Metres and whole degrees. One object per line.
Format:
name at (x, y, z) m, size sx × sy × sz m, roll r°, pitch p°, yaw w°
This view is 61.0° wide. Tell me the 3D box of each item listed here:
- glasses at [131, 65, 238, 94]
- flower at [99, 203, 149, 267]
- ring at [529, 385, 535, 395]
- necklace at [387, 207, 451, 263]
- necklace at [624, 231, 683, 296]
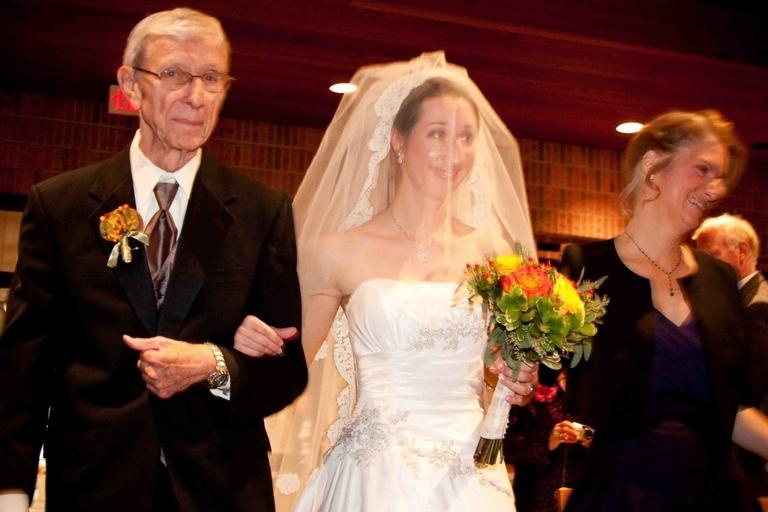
glasses at (-0.723, -0.661, 2.430) m, size 0.182 × 0.046 × 0.175 m, roll 2°, pitch -4°, yaw -26°
flower at (-0.915, -0.081, 2.265) m, size 0.173 × 0.204 × 0.070 m, roll -8°, pitch -12°, yaw -12°
ring at (0.603, 0.543, 2.643) m, size 0.014 × 0.038 × 0.041 m, roll 10°, pitch 4°, yaw 14°
necklace at (0.158, -0.088, 2.863) m, size 0.208 × 0.187 × 0.066 m, roll 2°, pitch -24°, yaw -10°
necklace at (1.252, 0.031, 3.007) m, size 0.270 × 0.064 × 0.253 m, roll 9°, pitch 43°, yaw -42°
